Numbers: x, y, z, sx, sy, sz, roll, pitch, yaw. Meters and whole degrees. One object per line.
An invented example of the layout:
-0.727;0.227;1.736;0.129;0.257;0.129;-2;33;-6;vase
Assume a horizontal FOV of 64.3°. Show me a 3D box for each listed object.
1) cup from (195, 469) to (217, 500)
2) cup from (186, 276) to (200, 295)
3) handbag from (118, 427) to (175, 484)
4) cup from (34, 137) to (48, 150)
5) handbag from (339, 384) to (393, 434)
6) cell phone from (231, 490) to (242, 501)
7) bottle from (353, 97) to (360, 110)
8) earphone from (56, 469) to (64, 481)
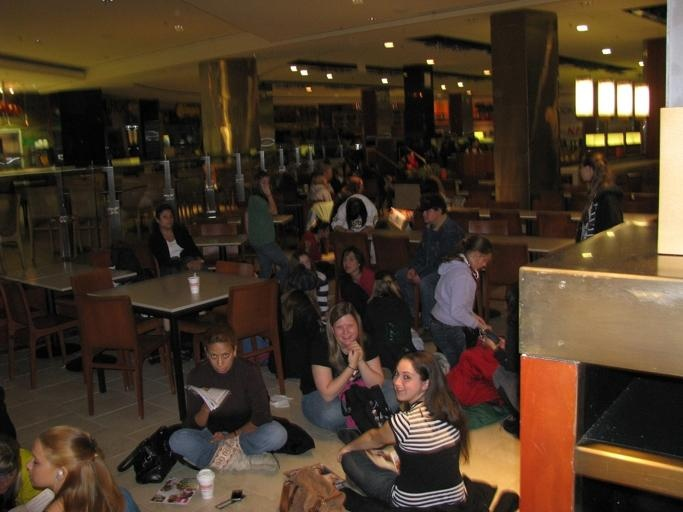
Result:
-0.894;1.514;3.586;0.158;0.201;0.162;-4;-9;-1;cup
-1.398;0.288;5.213;0.146;0.201;0.170;1;-4;-31;cup
-1.349;1.450;3.895;0.266;0.407;0.157;38;-4;27;handbag
-4.981;-1.869;9.012;0.145;0.142;0.145;1;5;0;cup
0.167;1.076;3.919;0.281;0.370;0.143;-20;-9;-34;handbag
-0.694;1.584;3.564;0.064;0.047;0.018;-7;-11;11;cell phone
0.569;-6.290;22.455;0.335;0.498;0.169;-8;12;-25;bottle
-1.216;0.949;2.341;0.011;0.042;0.030;-3;-5;24;earphone
